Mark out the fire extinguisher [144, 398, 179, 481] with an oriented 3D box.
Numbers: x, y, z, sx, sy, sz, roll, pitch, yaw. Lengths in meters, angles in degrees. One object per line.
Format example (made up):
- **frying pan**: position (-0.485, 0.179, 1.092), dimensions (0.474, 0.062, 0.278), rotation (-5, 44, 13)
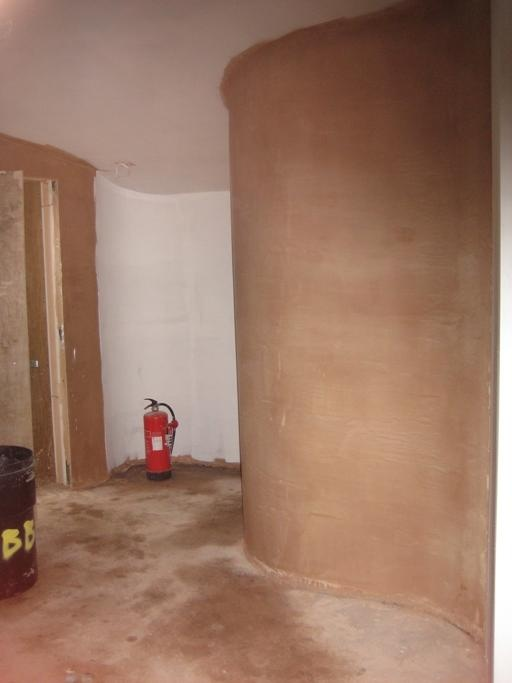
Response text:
- **fire extinguisher**: position (-0.733, 0.701, 4.654), dimensions (0.226, 0.625, 0.292), rotation (-4, 16, -14)
